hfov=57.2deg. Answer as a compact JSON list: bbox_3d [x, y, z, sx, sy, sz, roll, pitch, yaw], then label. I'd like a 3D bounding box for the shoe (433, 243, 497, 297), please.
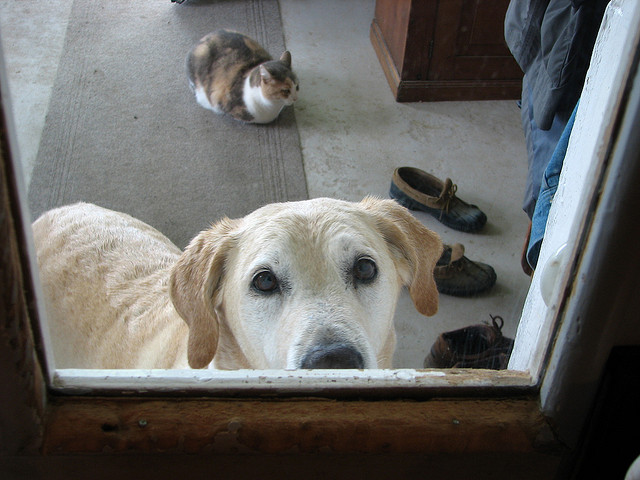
[{"bbox_3d":[0.829,0.199,3.431,0.375,0.150,0.270,16,50,20],"label":"shoe"}]

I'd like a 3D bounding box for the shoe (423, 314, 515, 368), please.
[{"bbox_3d":[0.787,0.472,2.712,0.569,0.261,0.195,-6,-3,24],"label":"shoe"}]
